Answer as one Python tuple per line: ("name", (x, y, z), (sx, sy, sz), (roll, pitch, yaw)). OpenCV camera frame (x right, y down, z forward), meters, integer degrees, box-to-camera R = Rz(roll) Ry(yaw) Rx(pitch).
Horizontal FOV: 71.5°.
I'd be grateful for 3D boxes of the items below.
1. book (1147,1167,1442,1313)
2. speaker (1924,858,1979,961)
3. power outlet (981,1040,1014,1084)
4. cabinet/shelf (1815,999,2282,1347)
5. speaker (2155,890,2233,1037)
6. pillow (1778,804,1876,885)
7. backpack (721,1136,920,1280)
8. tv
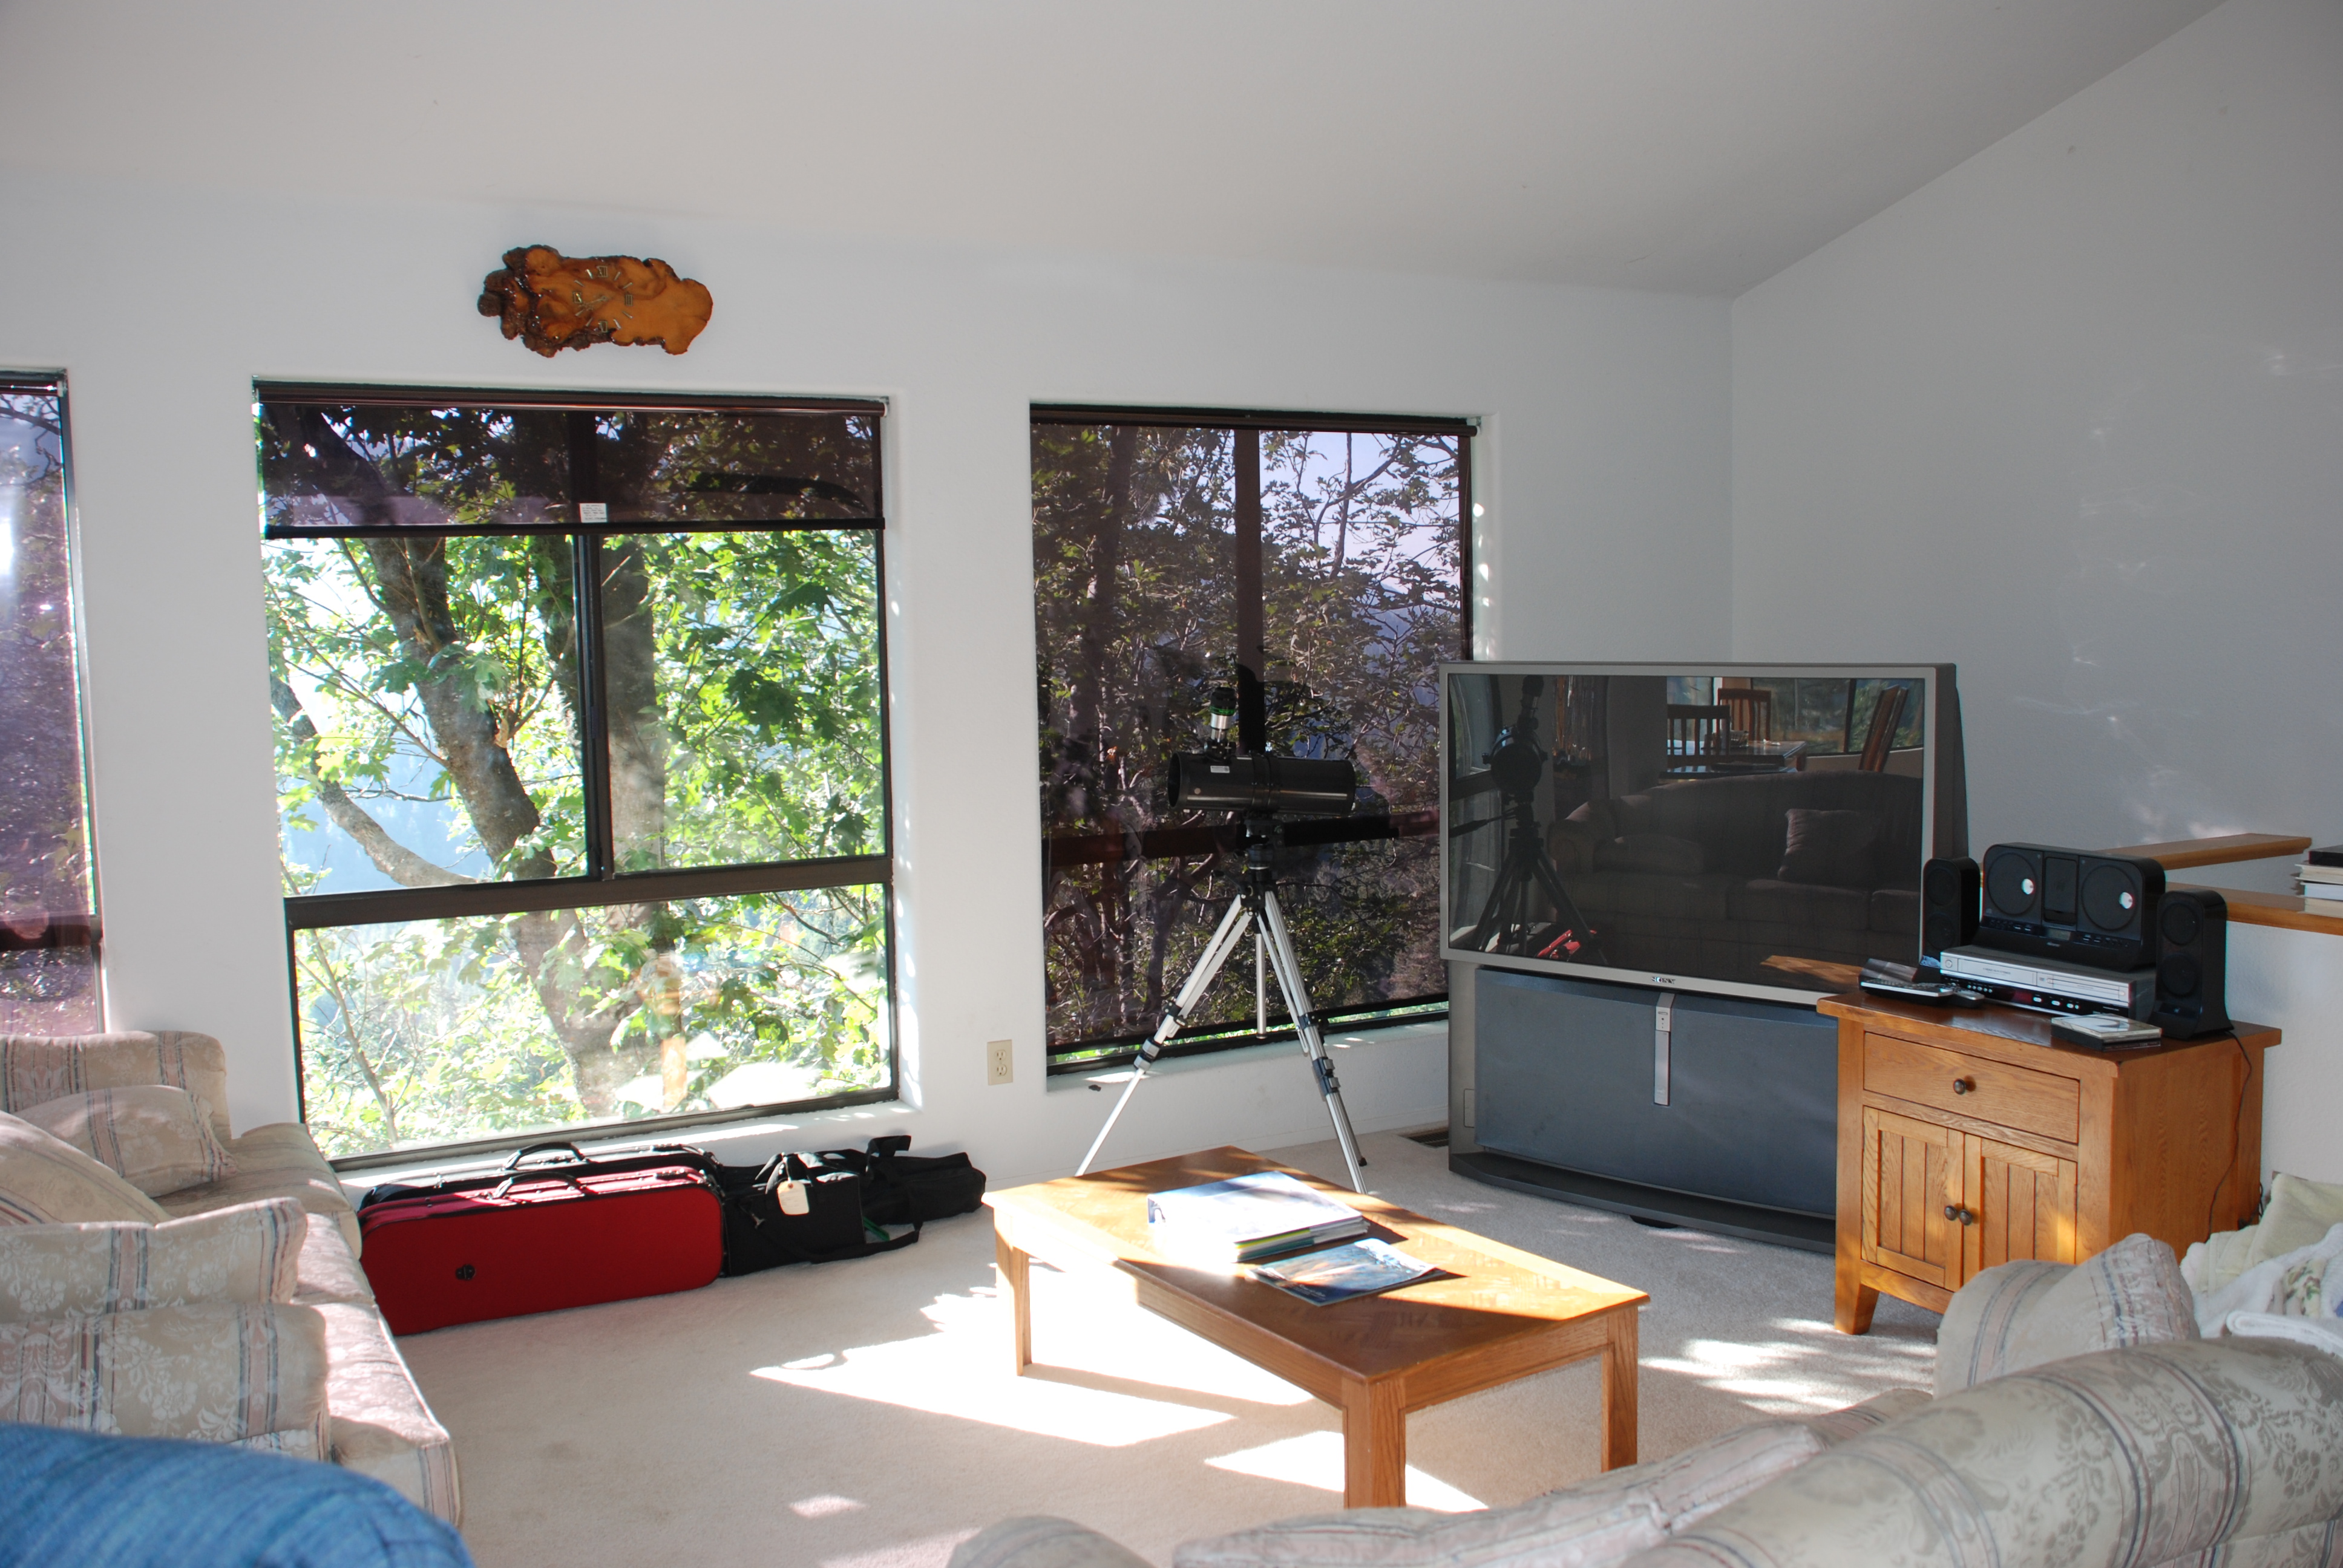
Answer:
("book", (0.245, 1.016, 3.603), (0.272, 0.073, 0.378), (-2, 7, -36))
("speaker", (1.981, 0.320, 4.176), (0.129, 0.258, 0.297), (4, 12, 23))
("power outlet", (-0.552, 0.875, 5.149), (0.146, 0.189, 0.019), (1, 6, -7))
("cabinet/shelf", (2.187, 1.021, 4.045), (0.634, 0.881, 0.957), (2, -1, -18))
("speaker", (2.353, 0.408, 3.755), (0.213, 0.328, 0.104), (-5, 12, -19))
("pillow", (1.851, 0.160, 4.596), (0.208, 0.195, 0.073), (7, 10, 33))
("backpack", (-1.032, 1.234, 4.744), (0.470, 0.209, 0.307), (0, -2, -28))
("tv", (1.588, 0.135, 4.743), (1.098, 0.651, 0.155), (1, 2, 34))
